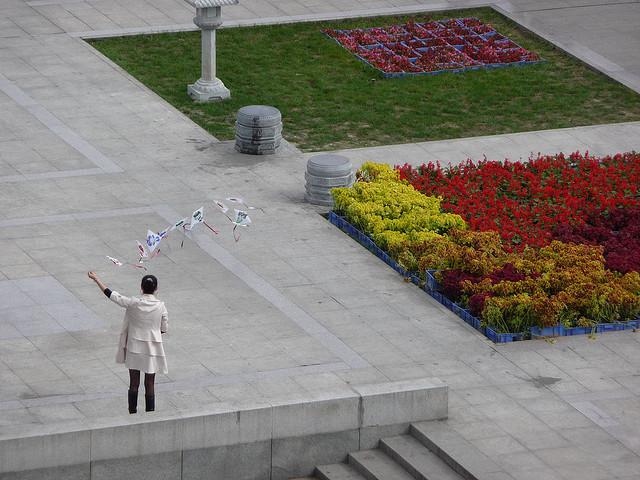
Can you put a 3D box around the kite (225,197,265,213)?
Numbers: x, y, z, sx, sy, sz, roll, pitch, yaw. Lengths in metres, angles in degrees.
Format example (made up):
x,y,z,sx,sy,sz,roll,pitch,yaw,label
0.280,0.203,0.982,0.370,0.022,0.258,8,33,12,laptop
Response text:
x,y,z,sx,sy,sz,roll,pitch,yaw,label
-1.306,-0.610,30.744,0.779,0.097,0.161,19,3,-6,kite

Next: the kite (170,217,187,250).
x,y,z,sx,sy,sz,roll,pitch,yaw,label
-2.351,-0.067,30.825,0.185,0.440,0.390,26,46,-49,kite

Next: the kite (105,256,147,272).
x,y,z,sx,sy,sz,roll,pitch,yaw,label
-3.116,0.419,29.633,0.690,0.091,0.099,13,58,-8,kite

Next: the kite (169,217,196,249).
x,y,z,sx,sy,sz,roll,pitch,yaw,label
-2.283,-0.069,30.832,0.256,0.478,0.534,14,-1,-27,kite

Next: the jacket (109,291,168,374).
x,y,z,sx,sy,sz,roll,pitch,yaw,label
-2.513,1.325,25.947,0.751,1.148,0.568,-2,31,-6,jacket

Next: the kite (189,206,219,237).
x,y,z,sx,sy,sz,roll,pitch,yaw,label
-1.907,-0.284,30.943,0.654,0.131,0.621,31,-2,45,kite

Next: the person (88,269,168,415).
x,y,z,sx,sy,sz,roll,pitch,yaw,label
-2.505,1.533,26.027,0.769,1.888,0.900,-6,31,-13,person

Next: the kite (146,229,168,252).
x,y,z,sx,sy,sz,roll,pitch,yaw,label
-2.621,0.048,29.778,0.317,0.376,0.120,14,29,15,kite
